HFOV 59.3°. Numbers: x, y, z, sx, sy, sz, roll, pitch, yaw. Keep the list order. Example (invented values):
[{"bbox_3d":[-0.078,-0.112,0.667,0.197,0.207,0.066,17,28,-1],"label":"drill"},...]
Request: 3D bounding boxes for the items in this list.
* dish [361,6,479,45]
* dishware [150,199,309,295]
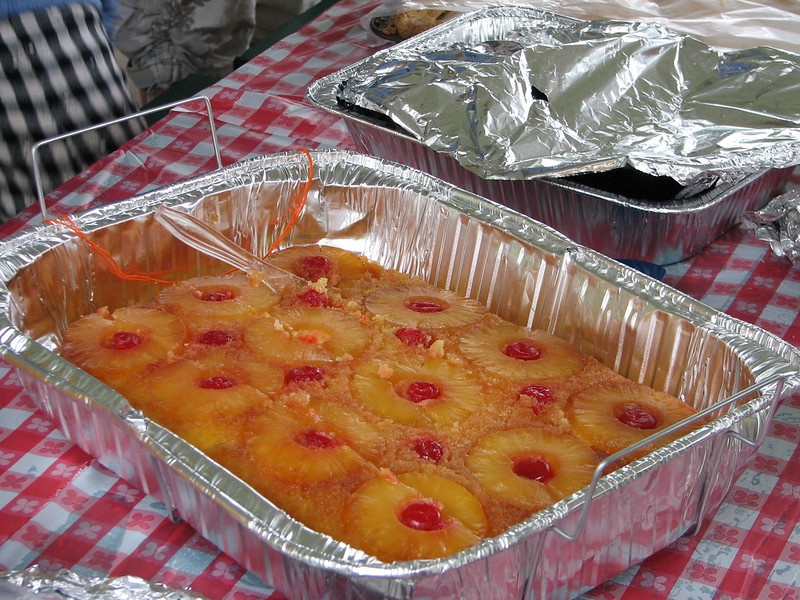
[{"bbox_3d":[0.037,-1.370,3.467,0.438,0.052,0.298,-29,41,-32],"label":"dish"},{"bbox_3d":[-0.529,-0.133,2.219,0.163,0.523,0.047,-18,47,44],"label":"dishware"}]
